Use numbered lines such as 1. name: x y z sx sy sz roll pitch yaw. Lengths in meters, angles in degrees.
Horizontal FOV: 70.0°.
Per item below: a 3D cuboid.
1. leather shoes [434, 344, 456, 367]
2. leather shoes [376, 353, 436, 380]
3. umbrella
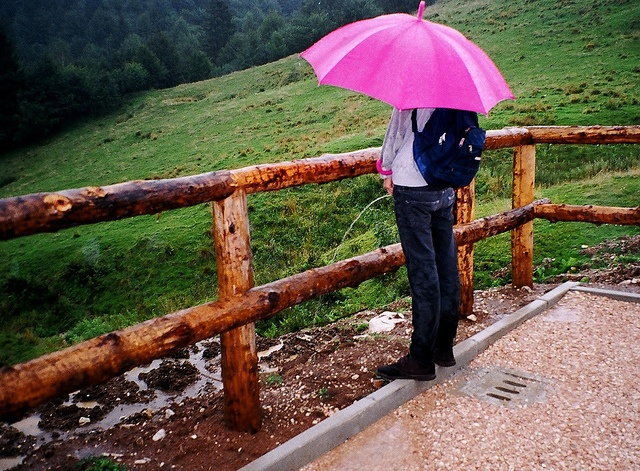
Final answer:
1. leather shoes: 1.252 1.210 4.572 0.123 0.132 0.278 -4 9 -3
2. leather shoes: 0.836 1.279 4.412 0.548 0.271 0.234 1 -3 13
3. umbrella: 0.736 -1.440 3.842 1.305 0.566 1.386 14 44 -7
